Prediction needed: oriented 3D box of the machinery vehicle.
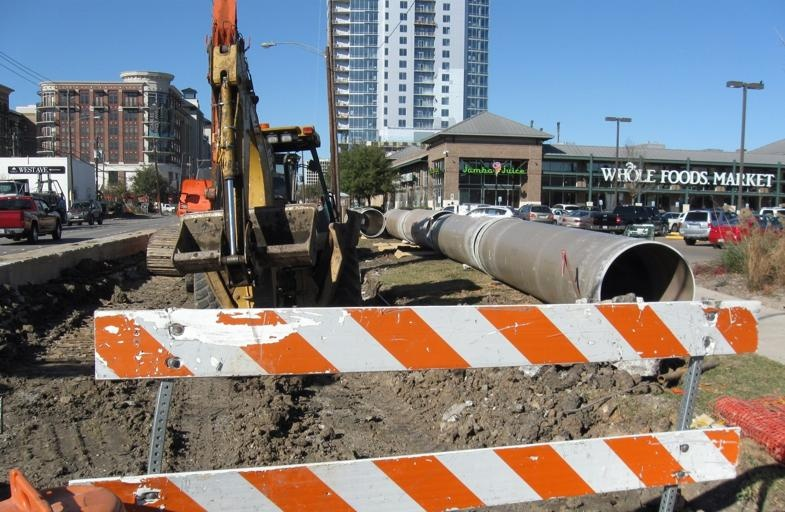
[{"bbox_3d":[-1.992,-0.707,11.018,2.010,3.472,5.646,-2,1,0],"label":"machinery vehicle"}]
